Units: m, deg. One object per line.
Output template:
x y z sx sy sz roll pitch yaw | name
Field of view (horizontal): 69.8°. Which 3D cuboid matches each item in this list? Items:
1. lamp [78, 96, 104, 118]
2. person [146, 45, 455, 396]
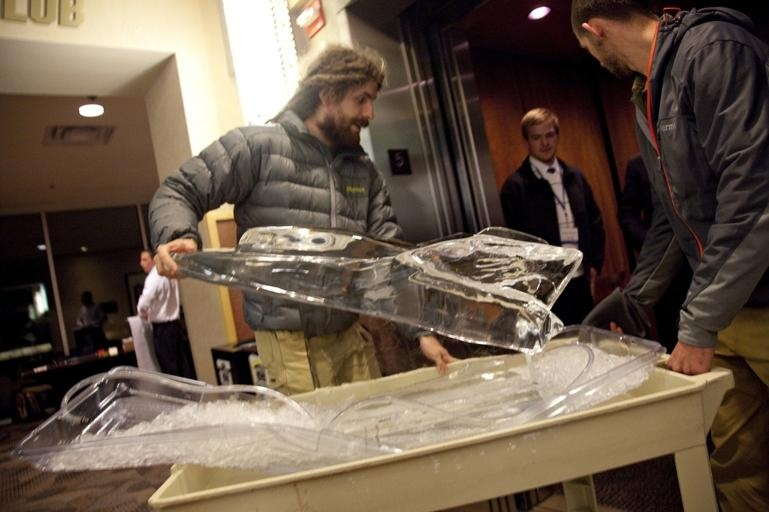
-2.975 -1.540 5.588 0.282 0.075 0.302 -5 -3 -4 | lamp
-0.394 -0.171 2.027 0.901 1.270 0.847 0 11 1 | person
